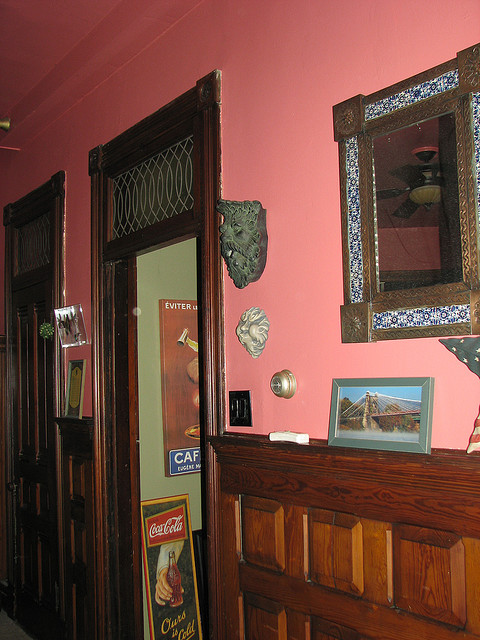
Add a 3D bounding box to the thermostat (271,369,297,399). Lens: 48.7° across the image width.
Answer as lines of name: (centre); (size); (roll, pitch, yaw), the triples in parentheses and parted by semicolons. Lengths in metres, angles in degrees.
thermostat: (0.136, 0.197, 1.619); (0.024, 0.093, 0.070); (4, -6, -33)
